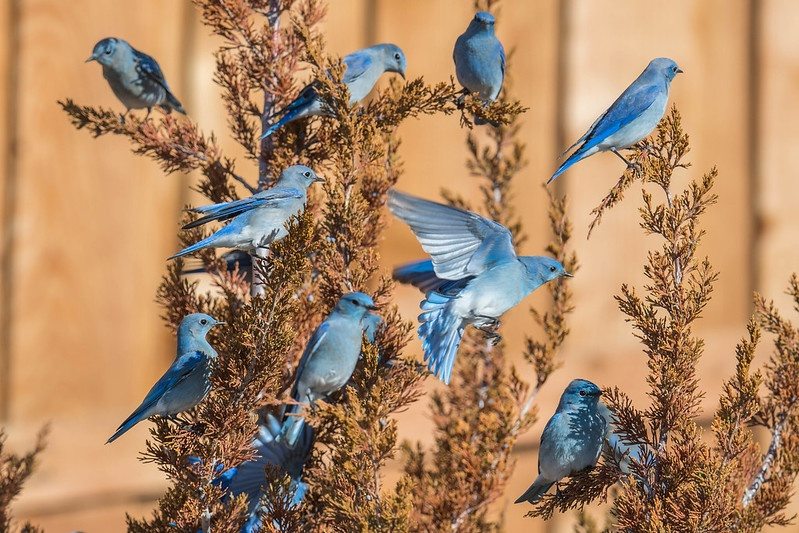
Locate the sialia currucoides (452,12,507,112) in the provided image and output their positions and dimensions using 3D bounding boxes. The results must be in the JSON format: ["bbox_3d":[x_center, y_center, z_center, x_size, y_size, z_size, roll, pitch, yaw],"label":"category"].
[{"bbox_3d":[0.750,-1.868,13.391,0.525,0.917,0.374,8,-17,-18],"label":"sialia currucoides"}]

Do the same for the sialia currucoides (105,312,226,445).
[{"bbox_3d":[-1.908,0.854,12.227,0.753,0.989,0.329,3,-16,-2],"label":"sialia currucoides"}]

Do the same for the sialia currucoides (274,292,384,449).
[{"bbox_3d":[-0.594,0.678,12.218,0.383,0.866,0.810,16,-22,-40],"label":"sialia currucoides"}]
